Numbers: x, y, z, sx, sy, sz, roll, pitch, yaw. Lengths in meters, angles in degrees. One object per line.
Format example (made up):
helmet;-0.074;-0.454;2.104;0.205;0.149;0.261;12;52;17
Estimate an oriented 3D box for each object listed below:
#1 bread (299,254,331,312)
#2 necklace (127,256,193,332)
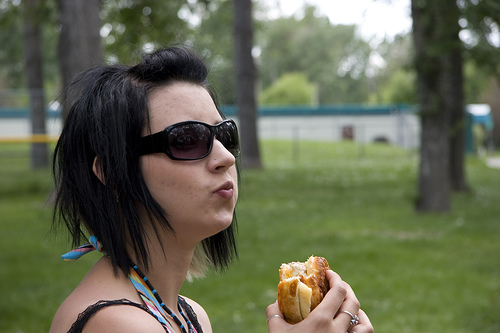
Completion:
bread;0.323;0.572;3.247;0.069;0.232;0.158;-8;-13;39
necklace;-0.450;0.648;3.214;0.043;0.411;0.283;-33;-15;4
